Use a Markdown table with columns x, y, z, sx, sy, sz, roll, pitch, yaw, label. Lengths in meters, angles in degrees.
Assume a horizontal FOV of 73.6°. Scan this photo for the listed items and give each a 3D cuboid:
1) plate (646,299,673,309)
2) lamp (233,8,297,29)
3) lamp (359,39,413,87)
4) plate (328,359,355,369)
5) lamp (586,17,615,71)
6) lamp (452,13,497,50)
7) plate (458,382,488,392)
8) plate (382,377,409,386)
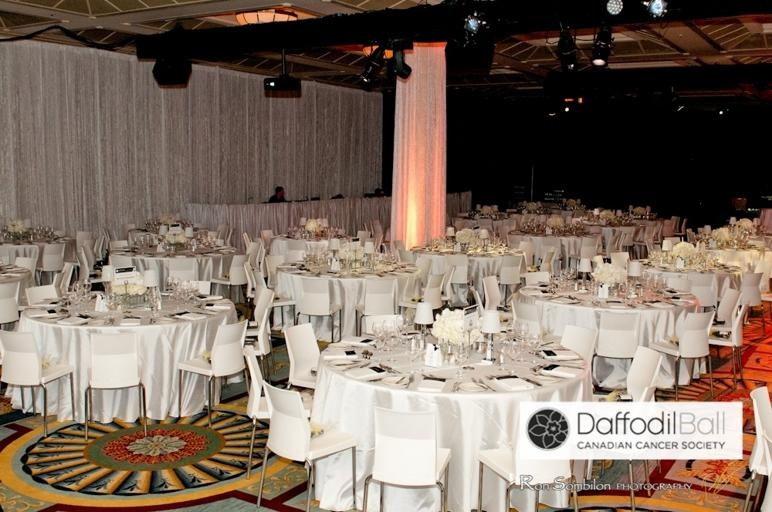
| x | y | z | sx | sy | sz | roll | pitch | yaw | label |
| --- | --- | --- | --- | --- | --- | --- | --- | --- | --- |
| 3.932 | 0.691 | 7.416 | 0.382 | 0.043 | 0.329 | 0 | 10 | -6 | plate |
| -2.771 | -5.510 | 11.715 | 1.015 | 0.254 | 0.957 | -1 | 7 | -1 | lamp |
| 0.041 | -3.738 | 9.902 | 0.579 | 0.748 | 1.314 | -8 | 14 | -37 | lamp |
| -0.431 | 1.043 | 4.950 | 0.231 | 0.007 | 0.217 | -1 | 10 | -13 | plate |
| 3.857 | -3.740 | 9.150 | 0.305 | 0.618 | 1.830 | 6 | 11 | 20 | lamp |
| 1.427 | -3.737 | 8.540 | 0.446 | 0.432 | 0.818 | 31 | 32 | 28 | lamp |
| 0.762 | 1.150 | 4.518 | 0.262 | 0.017 | 0.140 | 1 | 10 | 0 | plate |
| 0.096 | 1.119 | 4.634 | 0.229 | 0.016 | 0.176 | 0 | 10 | -5 | plate |
